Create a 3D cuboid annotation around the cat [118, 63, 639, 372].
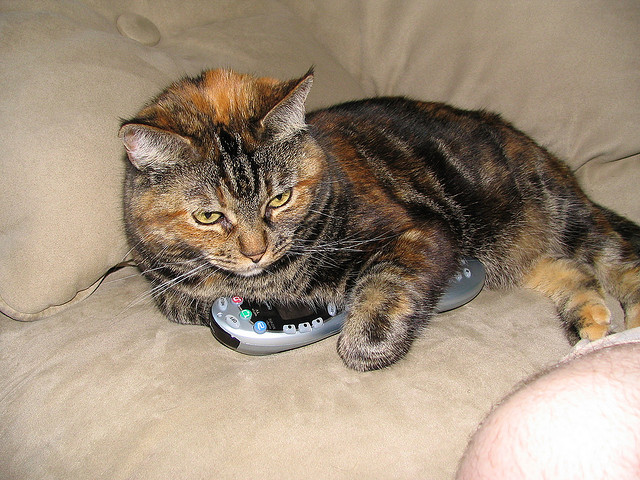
[{"bbox_3d":[0.193,-0.036,1.260,1.051,0.416,0.734,-10,18,-29],"label":"cat"}]
